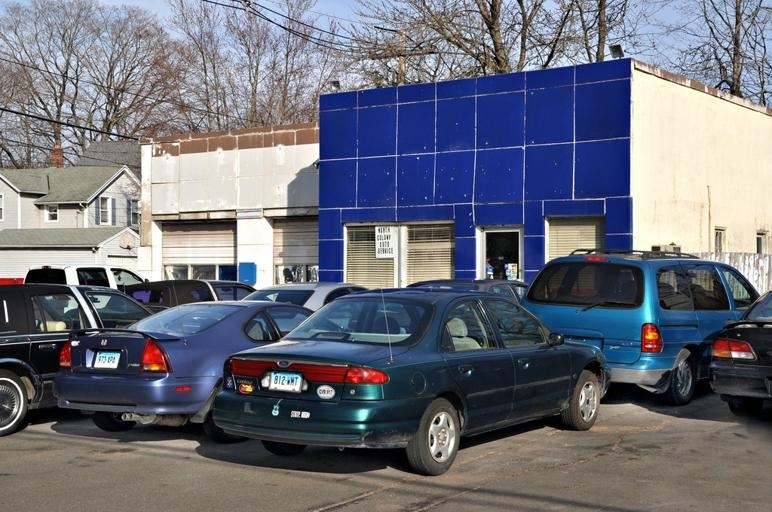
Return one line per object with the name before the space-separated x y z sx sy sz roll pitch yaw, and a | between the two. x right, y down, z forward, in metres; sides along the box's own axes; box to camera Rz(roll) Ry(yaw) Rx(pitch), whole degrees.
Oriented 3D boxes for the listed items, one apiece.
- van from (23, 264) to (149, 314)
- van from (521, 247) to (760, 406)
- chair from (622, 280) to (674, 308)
van | -8.012 0.673 22.666 1.749 1.184 3.209 1 3 42
van | 5.041 0.990 14.952 2.482 1.587 4.285 0 4 41
chair | 4.529 0.647 13.975 0.708 0.178 0.407 5 33 30
